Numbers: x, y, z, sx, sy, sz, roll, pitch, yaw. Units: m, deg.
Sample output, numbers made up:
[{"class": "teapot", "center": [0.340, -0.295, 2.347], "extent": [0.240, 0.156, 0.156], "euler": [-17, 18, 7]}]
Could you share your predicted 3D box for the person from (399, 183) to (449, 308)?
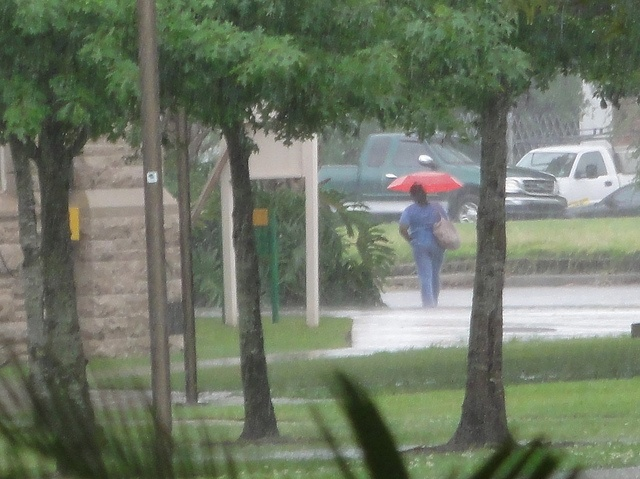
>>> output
[{"class": "person", "center": [1.754, 0.080, 29.762], "extent": [0.682, 2.302, 0.643], "euler": [-9, 21, -9]}]

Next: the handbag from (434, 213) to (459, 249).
[{"class": "handbag", "center": [2.055, -0.094, 29.226], "extent": [0.186, 0.532, 0.380], "euler": [-15, 13, 47]}]
